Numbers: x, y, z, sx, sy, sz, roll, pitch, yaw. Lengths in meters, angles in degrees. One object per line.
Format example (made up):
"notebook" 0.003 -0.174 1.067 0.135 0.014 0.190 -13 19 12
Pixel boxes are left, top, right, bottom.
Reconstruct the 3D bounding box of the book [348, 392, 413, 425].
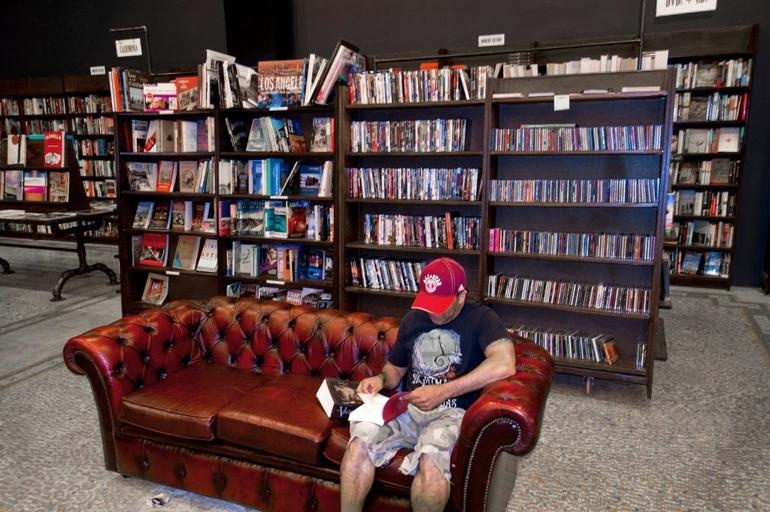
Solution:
"book" -0.041 0.949 3.400 0.216 0.106 0.276 0 11 45

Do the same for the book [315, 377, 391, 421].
"book" -0.231 0.945 3.604 0.302 0.071 0.298 -5 19 -44
